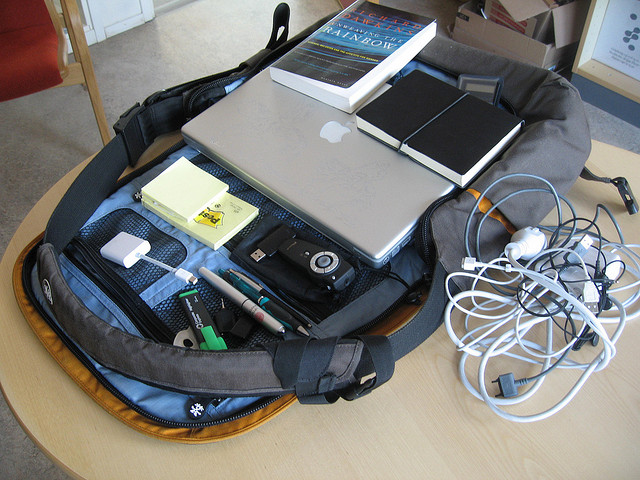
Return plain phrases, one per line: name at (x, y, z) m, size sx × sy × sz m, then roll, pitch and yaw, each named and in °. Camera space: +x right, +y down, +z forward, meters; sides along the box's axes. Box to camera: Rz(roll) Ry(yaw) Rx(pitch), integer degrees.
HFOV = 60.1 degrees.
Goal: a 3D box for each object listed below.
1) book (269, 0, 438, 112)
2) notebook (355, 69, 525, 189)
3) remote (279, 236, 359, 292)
book at (0.084, -0.428, 1.282) m, size 0.259 × 0.049 × 0.358 m, roll 26°, pitch 59°, yaw 29°
notebook at (0.246, -0.237, 1.141) m, size 0.288 × 0.053 × 0.231 m, roll 36°, pitch 61°, yaw 28°
remote at (-0.002, 0.043, 1.109) m, size 0.156 × 0.053 × 0.076 m, roll 31°, pitch 67°, yaw 22°
